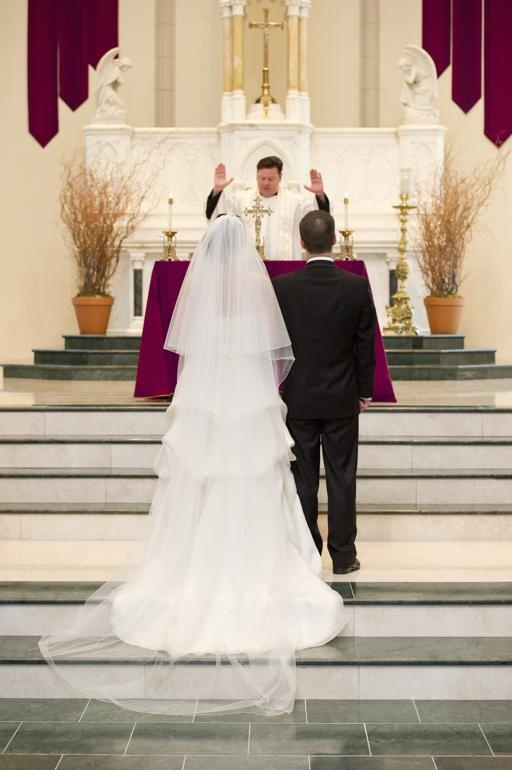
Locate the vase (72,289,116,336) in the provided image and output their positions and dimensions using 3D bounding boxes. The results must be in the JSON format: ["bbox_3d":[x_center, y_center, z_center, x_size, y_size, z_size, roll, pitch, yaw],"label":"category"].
[{"bbox_3d":[-1.207,-0.559,9.313,0.276,0.257,0.292,1,1,12],"label":"vase"}]

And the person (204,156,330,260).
[{"bbox_3d":[0.072,-0.888,7.571,0.671,1.085,0.307,2,32,2],"label":"person"}]

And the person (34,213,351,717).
[{"bbox_3d":[-0.212,0.299,4.945,0.980,1.850,0.805,-9,13,-33],"label":"person"}]

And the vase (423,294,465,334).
[{"bbox_3d":[1.363,-0.533,9.123,0.257,0.255,0.263,-1,2,5],"label":"vase"}]
